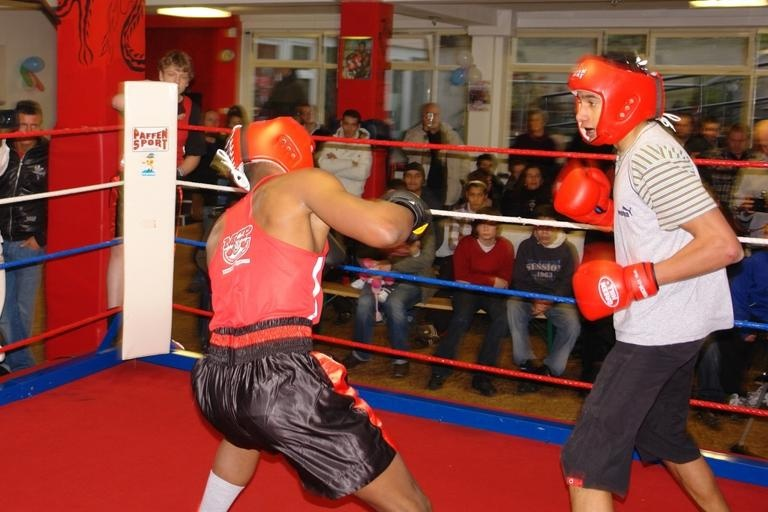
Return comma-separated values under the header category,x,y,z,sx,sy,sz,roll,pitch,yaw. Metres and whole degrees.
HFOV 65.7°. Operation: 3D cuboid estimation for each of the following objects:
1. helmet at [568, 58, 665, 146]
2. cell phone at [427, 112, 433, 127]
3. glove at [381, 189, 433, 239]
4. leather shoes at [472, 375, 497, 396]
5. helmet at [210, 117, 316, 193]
category,x,y,z,sx,sy,sz,roll,pitch,yaw
helmet,0.732,-0.489,1.943,0.277,0.280,0.248,11,3,-1
cell phone,0.423,-1.249,5.396,0.080,0.126,0.077,1,13,2
glove,0.085,-0.131,1.658,0.150,0.111,0.063,28,26,27
leather shoes,0.631,0.821,3.749,0.109,0.044,0.139,22,-6,0
helmet,-0.340,-0.307,1.771,0.291,0.195,0.195,-15,14,-11
